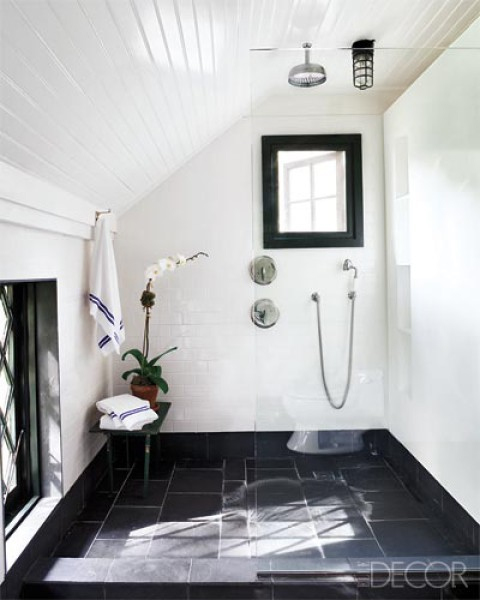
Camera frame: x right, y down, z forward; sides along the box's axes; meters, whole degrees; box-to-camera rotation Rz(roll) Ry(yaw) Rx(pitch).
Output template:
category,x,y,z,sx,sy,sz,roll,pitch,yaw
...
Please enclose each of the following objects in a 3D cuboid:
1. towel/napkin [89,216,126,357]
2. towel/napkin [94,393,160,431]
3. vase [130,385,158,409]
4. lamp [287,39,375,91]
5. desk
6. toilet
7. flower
category,x,y,z,sx,sy,sz,roll,pitch,yaw
towel/napkin,-0.730,-0.092,2.677,0.129,0.753,0.264,-3,4,-1
towel/napkin,-0.576,0.543,2.584,0.186,0.080,0.191,-5,12,-39
vase,-0.555,0.522,2.873,0.123,0.159,0.142,1,4,10
lamp,0.326,-0.822,1.757,0.309,0.195,0.134,1,-1,0
desk,-0.602,0.896,2.712,0.294,0.324,0.593,0,-2,-4
toilet,0.340,0.489,1.845,0.353,0.261,0.338,-2,48,11
flower,-0.483,0.170,3.003,0.528,0.877,0.342,-3,4,-6
